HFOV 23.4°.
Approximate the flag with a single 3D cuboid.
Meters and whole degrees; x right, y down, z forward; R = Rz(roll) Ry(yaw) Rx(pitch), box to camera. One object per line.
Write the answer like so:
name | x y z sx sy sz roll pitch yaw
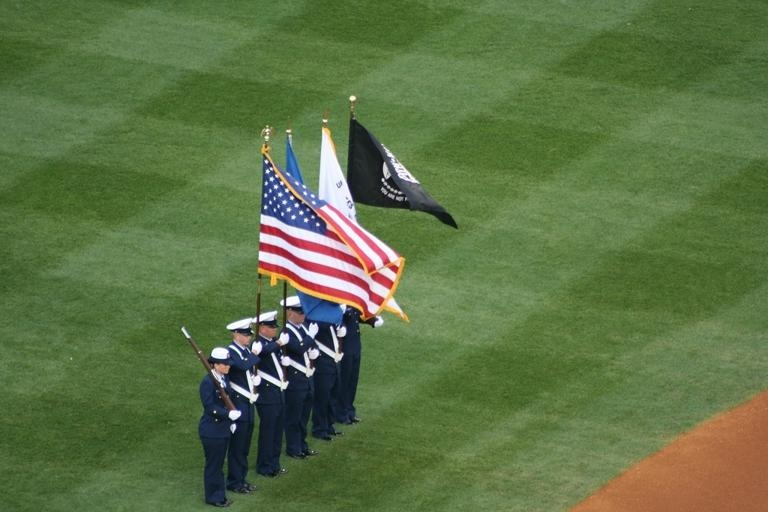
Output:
flag | -0.561 -0.568 39.002 5.121 5.371 1.885 1 8 -7
